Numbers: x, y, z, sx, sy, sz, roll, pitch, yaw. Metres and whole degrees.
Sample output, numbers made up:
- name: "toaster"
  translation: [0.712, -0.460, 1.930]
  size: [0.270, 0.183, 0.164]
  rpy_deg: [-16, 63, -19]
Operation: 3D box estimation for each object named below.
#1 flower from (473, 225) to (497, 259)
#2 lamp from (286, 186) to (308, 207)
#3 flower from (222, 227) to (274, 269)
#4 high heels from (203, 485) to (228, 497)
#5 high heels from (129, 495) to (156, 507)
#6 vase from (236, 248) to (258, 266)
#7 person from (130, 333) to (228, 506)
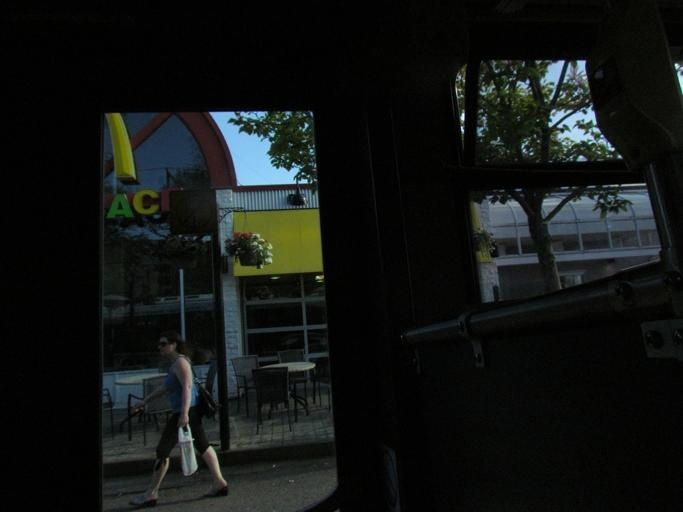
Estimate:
- name: "flower"
  translation: [0.676, -0.067, 2.813]
  size: [0.101, 0.134, 0.060]
  rpy_deg: [-16, -4, -19]
- name: "lamp"
  translation: [-0.417, -0.553, 5.541]
  size: [0.167, 0.295, 0.145]
  rpy_deg: [1, -7, -11]
- name: "flower"
  translation: [-0.762, -0.061, 4.882]
  size: [0.311, 0.232, 0.312]
  rpy_deg: [-1, -6, 37]
- name: "high heels"
  translation: [-0.725, 1.361, 3.395]
  size: [0.137, 0.043, 0.055]
  rpy_deg: [1, -15, -7]
- name: "high heels"
  translation: [-1.099, 1.366, 3.258]
  size: [0.133, 0.050, 0.052]
  rpy_deg: [21, -28, -29]
- name: "vase"
  translation: [-0.776, 0.010, 4.838]
  size: [0.139, 0.102, 0.144]
  rpy_deg: [0, -2, 11]
- name: "person"
  translation: [-0.967, 0.951, 3.565]
  size: [0.484, 0.970, 0.500]
  rpy_deg: [-5, -6, -13]
